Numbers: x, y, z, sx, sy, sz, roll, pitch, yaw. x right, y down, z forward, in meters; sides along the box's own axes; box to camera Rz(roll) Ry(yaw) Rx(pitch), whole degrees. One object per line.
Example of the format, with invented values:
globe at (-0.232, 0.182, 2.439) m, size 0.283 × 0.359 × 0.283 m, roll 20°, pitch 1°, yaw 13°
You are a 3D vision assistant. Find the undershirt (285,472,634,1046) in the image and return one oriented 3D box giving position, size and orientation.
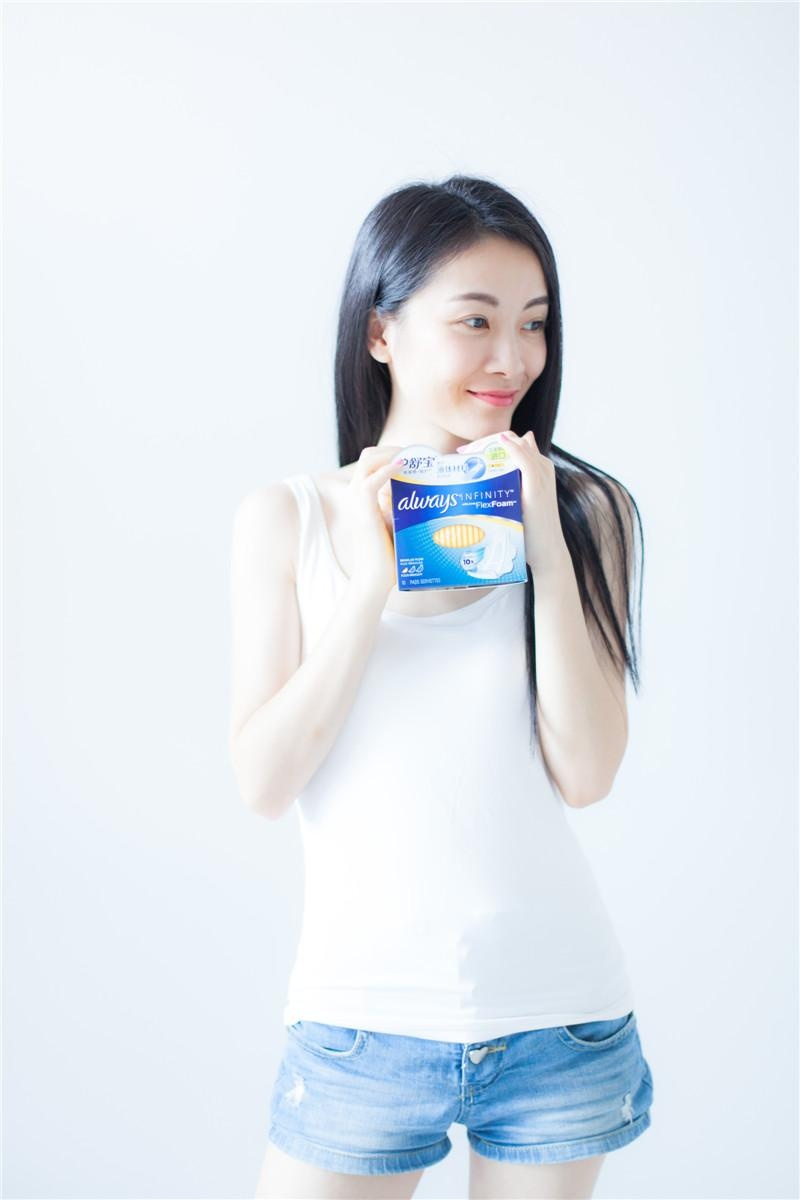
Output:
undershirt at (0.062, 0.205, 1.159) m, size 0.347 × 0.452 × 0.152 m, roll 1°, pitch -6°, yaw -19°

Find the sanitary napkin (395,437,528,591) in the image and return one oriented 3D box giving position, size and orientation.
sanitary napkin at (0.060, -0.083, 1.129) m, size 0.135 × 0.162 × 0.035 m, roll -7°, pitch -18°, yaw 3°
